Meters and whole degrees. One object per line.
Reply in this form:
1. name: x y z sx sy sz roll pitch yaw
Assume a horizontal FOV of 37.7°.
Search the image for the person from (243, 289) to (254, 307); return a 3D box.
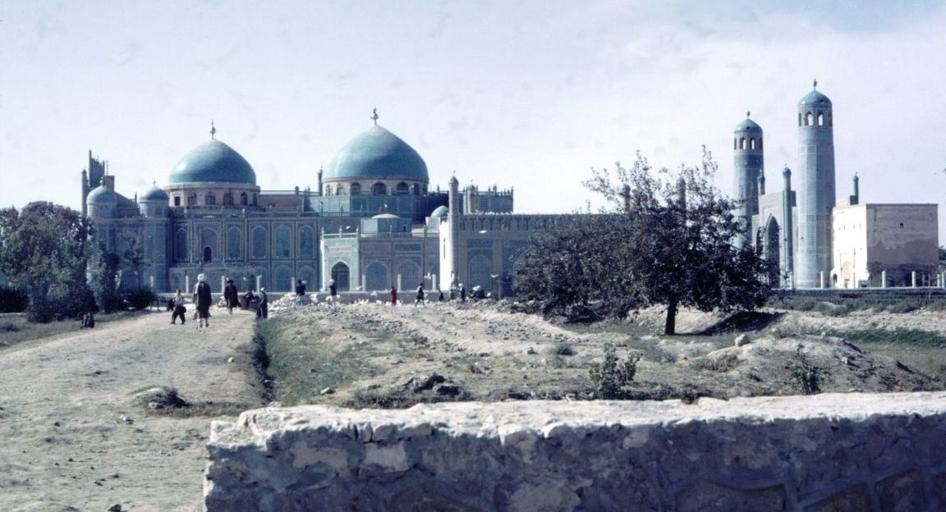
1. person: -11.136 2.214 68.462 0.536 0.753 1.270 -2 0 -11
